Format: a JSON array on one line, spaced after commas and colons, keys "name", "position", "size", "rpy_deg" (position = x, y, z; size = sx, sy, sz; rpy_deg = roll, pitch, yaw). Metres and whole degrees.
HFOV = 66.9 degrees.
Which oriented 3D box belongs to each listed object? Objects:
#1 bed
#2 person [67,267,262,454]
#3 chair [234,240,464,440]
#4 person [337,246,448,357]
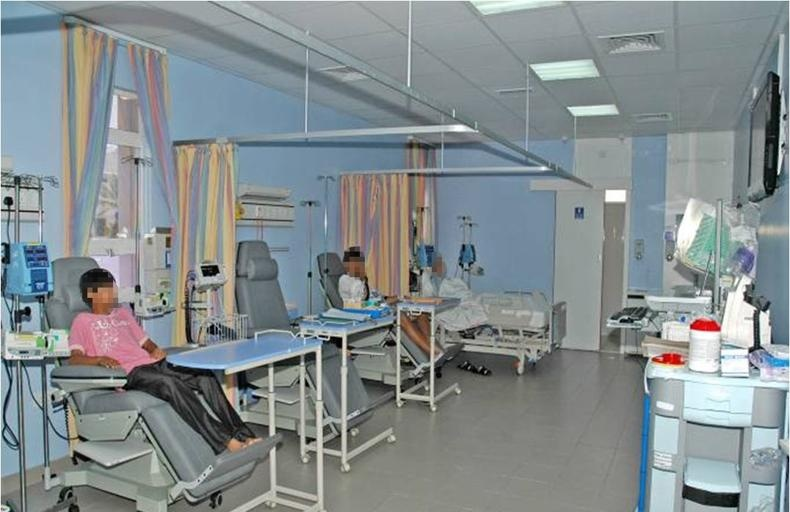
[{"name": "bed", "position": [1.365, 0.934, 8.467], "size": [2.058, 1.058, 1.121], "rpy_deg": [-1, 2, 26]}, {"name": "person", "position": [-1.984, 0.860, 5.155], "size": [2.038, 1.309, 0.965], "rpy_deg": [8, 10, 26]}, {"name": "chair", "position": [-0.610, 0.815, 6.709], "size": [2.004, 2.294, 1.706], "rpy_deg": [-2, -2, 27]}, {"name": "person", "position": [-0.214, 0.532, 7.518], "size": [1.593, 1.451, 0.931], "rpy_deg": [0, 0, 31]}]
